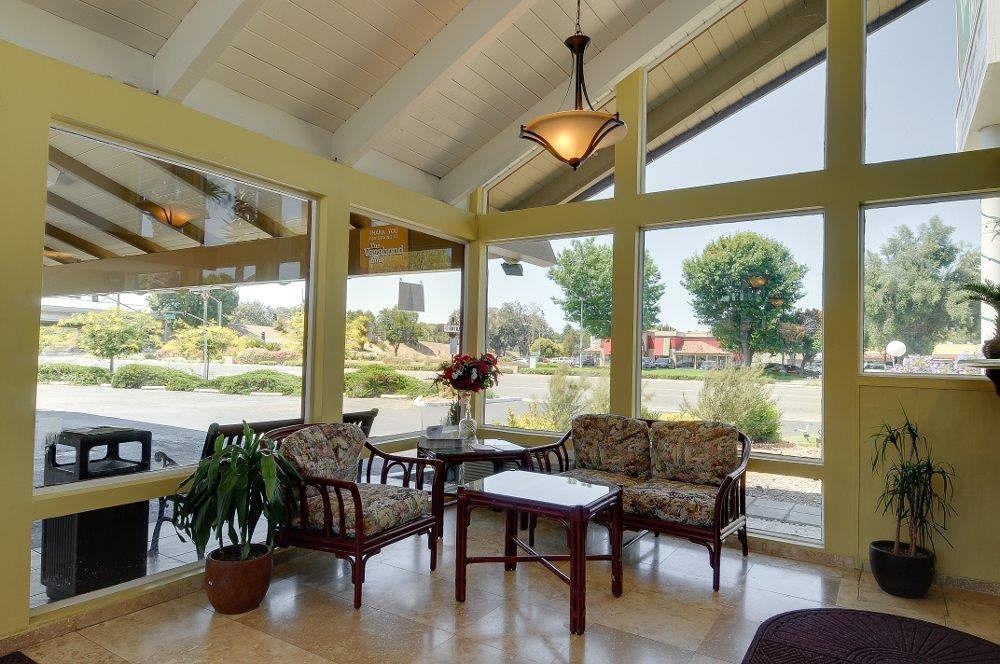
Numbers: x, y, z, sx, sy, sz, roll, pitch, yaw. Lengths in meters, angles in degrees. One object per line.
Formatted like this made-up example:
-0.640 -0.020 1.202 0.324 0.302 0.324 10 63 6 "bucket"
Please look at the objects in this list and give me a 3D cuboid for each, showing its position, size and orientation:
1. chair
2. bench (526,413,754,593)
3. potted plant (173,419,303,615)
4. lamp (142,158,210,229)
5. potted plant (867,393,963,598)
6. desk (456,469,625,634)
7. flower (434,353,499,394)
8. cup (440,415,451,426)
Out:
-1.174 1.402 5.519 1.365 1.060 1.332 4 2 0 "chair"
1.279 1.410 6.138 1.947 1.107 0.989 -1 2 41 "bench"
-1.996 1.414 5.182 0.866 1.381 0.974 5 2 10 "potted plant"
-2.581 -1.110 5.277 0.272 0.534 0.561 -2 -3 37 "lamp"
3.346 1.413 5.442 0.645 1.381 0.669 6 10 32 "potted plant"
0.323 1.651 5.244 1.129 0.836 0.875 1 -1 29 "desk"
-0.289 0.413 6.741 0.495 0.352 0.493 -2 -1 2 "flower"
-0.584 0.976 7.270 0.086 0.150 0.155 -5 -12 32 "cup"
